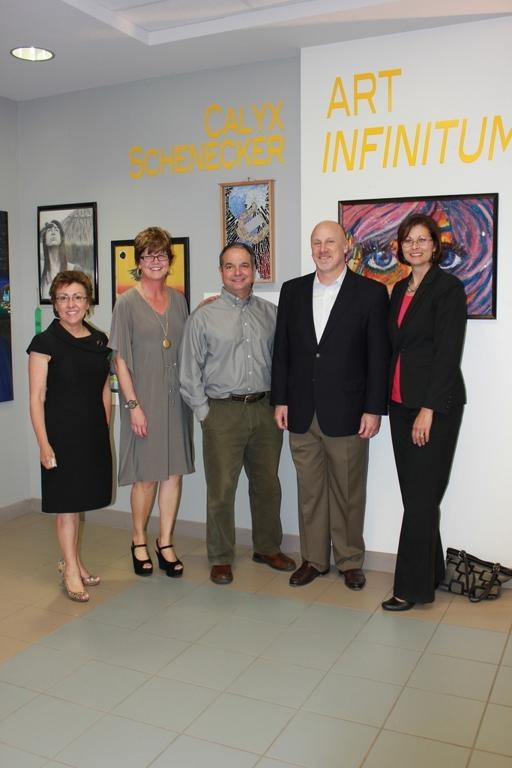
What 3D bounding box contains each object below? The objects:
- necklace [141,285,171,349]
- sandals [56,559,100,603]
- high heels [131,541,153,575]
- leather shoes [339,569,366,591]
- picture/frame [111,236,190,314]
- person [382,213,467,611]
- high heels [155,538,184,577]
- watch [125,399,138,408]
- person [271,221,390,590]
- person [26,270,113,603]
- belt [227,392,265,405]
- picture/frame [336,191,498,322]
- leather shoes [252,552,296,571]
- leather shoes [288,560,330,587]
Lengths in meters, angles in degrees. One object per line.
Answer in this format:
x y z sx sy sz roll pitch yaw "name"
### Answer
-0.482 -0.326 2.909 0.114 0.340 0.065 -8 44 3 "necklace"
-0.871 0.968 2.865 0.126 0.057 0.197 7 22 -23 "sandals"
-0.599 0.925 3.084 0.065 0.082 0.213 0 6 -20 "high heels"
0.482 0.948 2.860 0.063 0.053 0.128 -2 2 -17 "leather shoes"
-0.544 -0.587 3.155 0.583 0.569 0.028 5 10 28 "picture/frame"
0.702 0.152 2.499 0.366 1.670 0.292 -2 -1 13 "person"
-0.459 0.918 3.101 0.080 0.099 0.249 0 9 -35 "high heels"
-0.602 0.103 2.848 0.058 0.044 0.033 -1 -1 -3 "watch"
0.364 0.143 2.757 0.448 1.698 0.573 -1 -1 -24 "person"
-0.848 0.260 2.725 0.335 1.518 0.451 -1 -1 11 "person"
-0.039 0.072 2.879 0.197 0.051 0.056 -1 -1 -35 "belt"
0.760 -0.574 2.671 0.704 0.520 0.030 3 9 29 "picture/frame"
0.105 0.951 3.197 0.230 0.095 0.086 2 8 30 "leather shoes"
0.267 0.934 2.945 0.078 0.098 0.236 2 4 44 "leather shoes"
